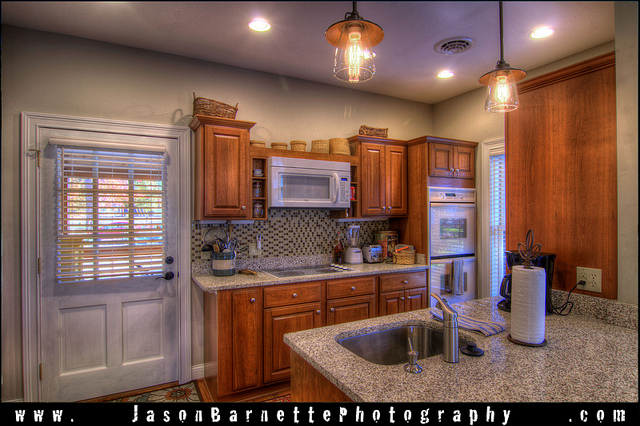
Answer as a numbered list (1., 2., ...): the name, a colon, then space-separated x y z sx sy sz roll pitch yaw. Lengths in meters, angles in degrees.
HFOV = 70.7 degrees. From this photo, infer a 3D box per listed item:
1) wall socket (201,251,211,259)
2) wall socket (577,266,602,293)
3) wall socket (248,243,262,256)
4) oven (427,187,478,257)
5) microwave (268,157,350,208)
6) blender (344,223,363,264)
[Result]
1. wall socket: -1.114 0.415 4.464 0.122 0.099 0.063 1 -1 -28
2. wall socket: 1.839 0.449 3.058 0.020 0.216 0.199 0 0 -32
3. wall socket: -0.676 0.372 4.618 0.134 0.113 0.032 -2 7 -23
4. oven: 1.540 0.088 5.279 0.602 0.690 0.502 -2 2 9
5. microwave: -0.171 -0.272 4.753 0.965 0.518 0.494 0 -1 -32
6. blender: 0.377 0.342 5.067 0.204 0.443 0.316 -2 1 5
